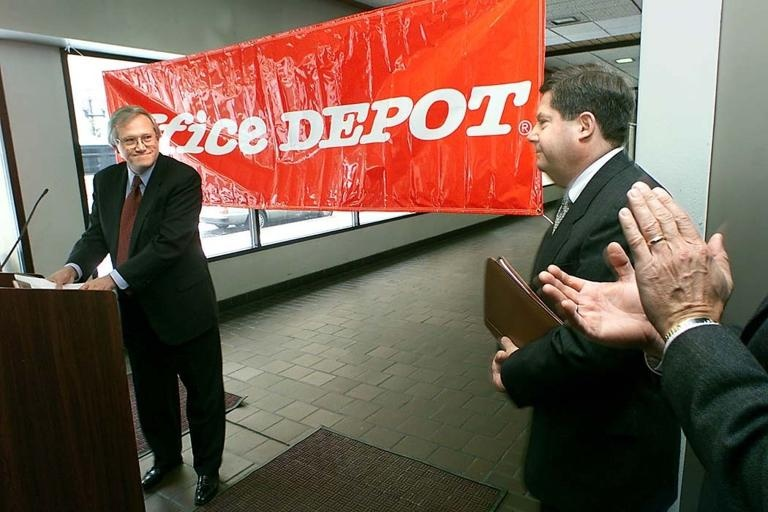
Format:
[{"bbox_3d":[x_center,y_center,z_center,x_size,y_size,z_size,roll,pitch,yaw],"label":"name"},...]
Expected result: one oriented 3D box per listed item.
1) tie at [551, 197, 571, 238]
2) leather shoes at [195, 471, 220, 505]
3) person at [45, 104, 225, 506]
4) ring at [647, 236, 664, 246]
[{"bbox_3d":[0.719,-0.165,2.125,0.035,0.133,0.081,27,-7,-7],"label":"tie"},{"bbox_3d":[-1.021,1.341,3.020,0.078,0.072,0.199,0,6,-5],"label":"leather shoes"},{"bbox_3d":[-1.326,0.288,2.962,0.692,2.193,0.604,-1,16,12],"label":"person"},{"bbox_3d":[0.726,-0.044,1.404,0.030,0.011,0.023,-35,-4,25],"label":"ring"}]
